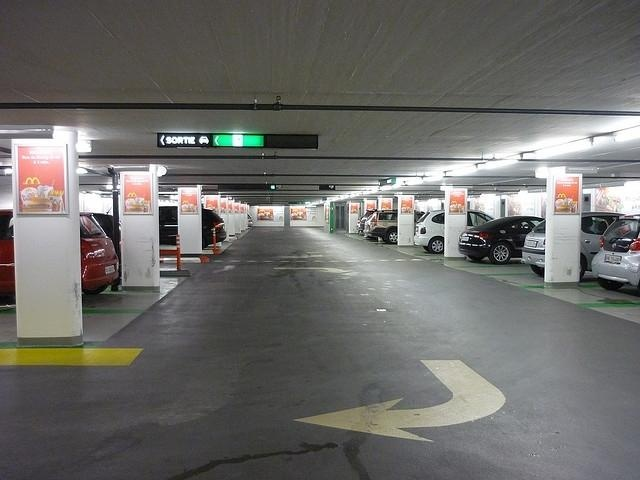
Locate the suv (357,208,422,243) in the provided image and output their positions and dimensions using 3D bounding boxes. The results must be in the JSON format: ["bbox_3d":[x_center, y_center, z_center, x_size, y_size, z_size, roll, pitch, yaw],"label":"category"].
[{"bbox_3d":[4.084,-0.925,28.362,1.119,2.188,2.507,-4,7,-30],"label":"suv"}]

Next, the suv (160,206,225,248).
[{"bbox_3d":[-6.913,-0.689,23.223,3.291,2.316,2.091,-2,6,-15],"label":"suv"}]

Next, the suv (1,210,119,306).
[{"bbox_3d":[-6.729,0.217,10.160,3.462,1.505,1.762,3,1,-5],"label":"suv"}]

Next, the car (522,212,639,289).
[{"bbox_3d":[8.053,-0.033,13.056,3.105,1.281,1.575,-4,2,-7],"label":"car"}]

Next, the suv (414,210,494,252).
[{"bbox_3d":[6.741,-0.486,20.982,3.488,1.280,1.770,-2,2,-3],"label":"suv"}]
